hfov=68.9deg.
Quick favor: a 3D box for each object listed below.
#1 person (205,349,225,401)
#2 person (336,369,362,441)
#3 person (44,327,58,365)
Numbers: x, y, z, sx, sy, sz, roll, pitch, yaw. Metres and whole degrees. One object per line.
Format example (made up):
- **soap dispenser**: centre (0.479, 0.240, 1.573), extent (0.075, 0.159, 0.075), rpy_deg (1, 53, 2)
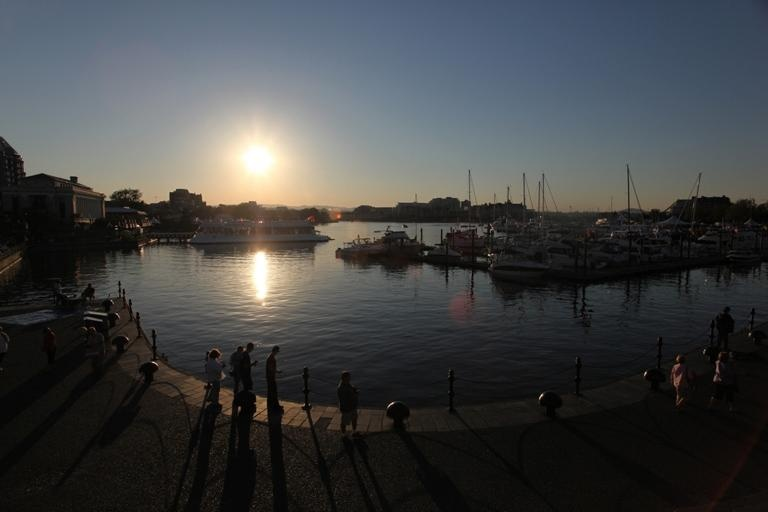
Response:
- **person**: centre (-7.026, 4.985, 23.261), extent (0.672, 2.351, 0.928), rpy_deg (-4, 10, -23)
- **person**: centre (-1.369, 5.639, 21.689), extent (0.694, 2.422, 0.804), rpy_deg (-1, 9, -3)
- **person**: centre (-15.858, 4.268, 26.674), extent (0.435, 1.799, 0.660), rpy_deg (-8, 12, -39)
